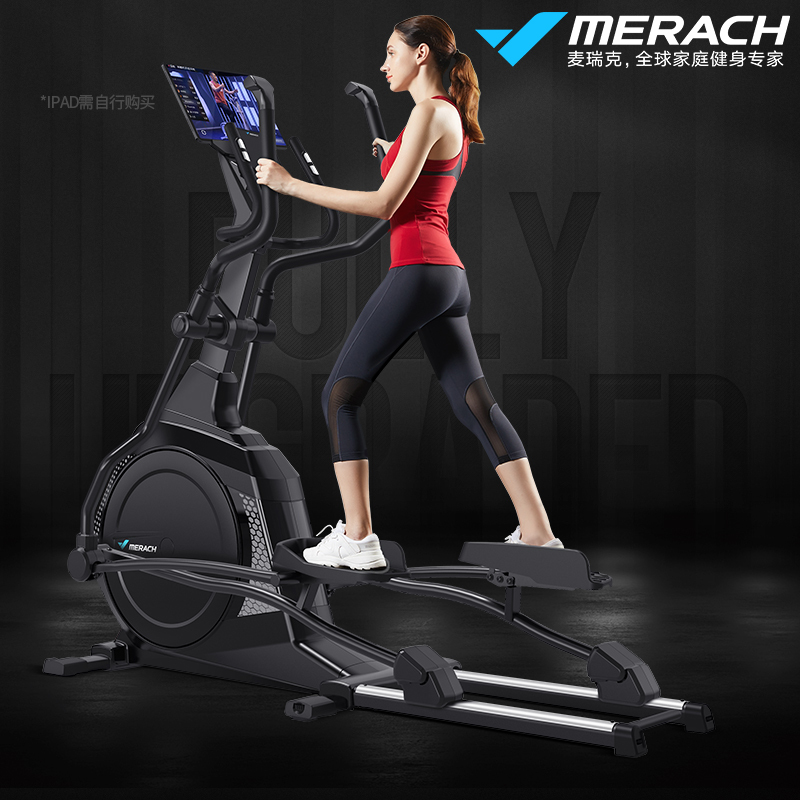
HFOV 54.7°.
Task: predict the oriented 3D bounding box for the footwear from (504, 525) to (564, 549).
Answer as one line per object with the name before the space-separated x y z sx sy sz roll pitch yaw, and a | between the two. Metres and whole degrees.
footwear | 0.291 0.298 1.692 0.119 0.037 0.261 -1 -5 8

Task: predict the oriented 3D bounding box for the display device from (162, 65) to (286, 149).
display device | -0.416 -0.743 1.951 0.368 0.189 0.027 21 57 34

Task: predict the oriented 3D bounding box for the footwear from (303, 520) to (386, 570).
footwear | -0.120 0.331 1.744 0.221 0.089 0.076 1 -6 33

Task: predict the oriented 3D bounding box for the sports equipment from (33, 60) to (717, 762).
sports equipment | 0.054 -0.032 1.884 1.899 1.477 0.687 4 -3 25

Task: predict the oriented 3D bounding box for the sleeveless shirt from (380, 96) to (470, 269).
sleeveless shirt | 0.067 -0.499 1.745 0.259 0.354 0.224 -1 19 -17
